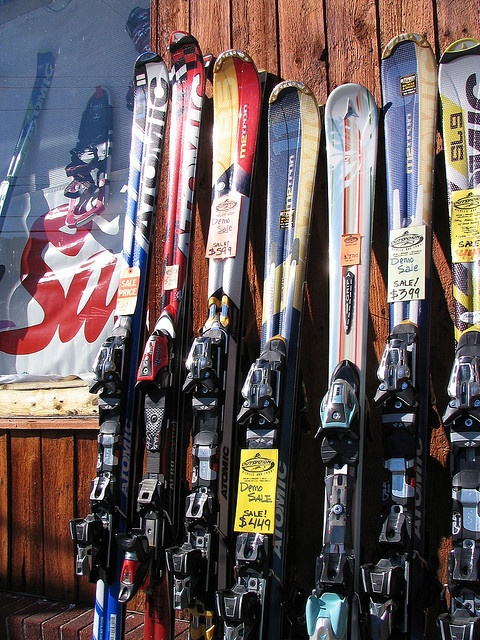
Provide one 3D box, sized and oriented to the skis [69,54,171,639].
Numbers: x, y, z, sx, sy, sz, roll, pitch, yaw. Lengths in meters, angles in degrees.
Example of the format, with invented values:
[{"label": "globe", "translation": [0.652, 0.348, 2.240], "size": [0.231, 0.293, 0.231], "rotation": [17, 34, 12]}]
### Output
[{"label": "skis", "translation": [-0.525, 0.159, 3.207], "size": [0.173, 2.833, 0.242], "rotation": [-2, -17, 22]}]
